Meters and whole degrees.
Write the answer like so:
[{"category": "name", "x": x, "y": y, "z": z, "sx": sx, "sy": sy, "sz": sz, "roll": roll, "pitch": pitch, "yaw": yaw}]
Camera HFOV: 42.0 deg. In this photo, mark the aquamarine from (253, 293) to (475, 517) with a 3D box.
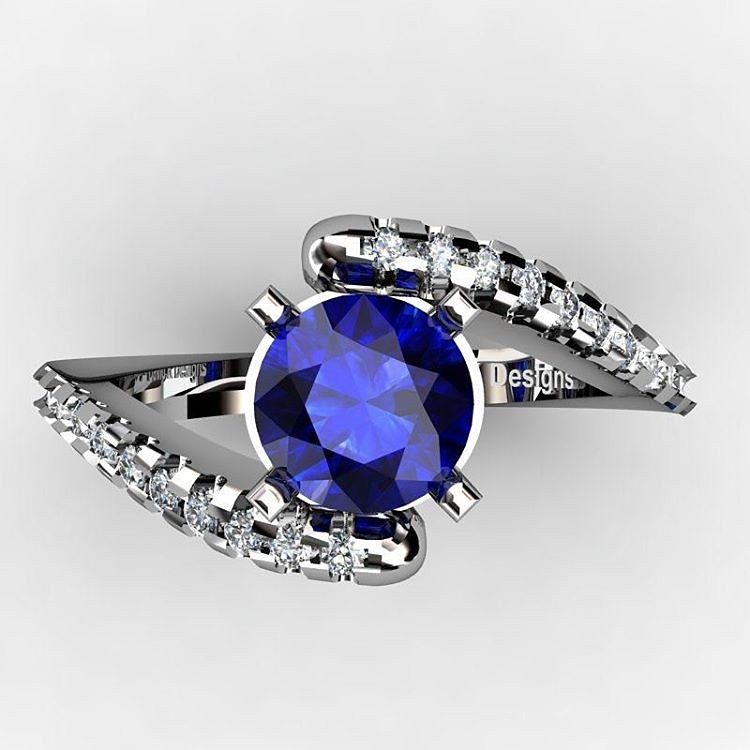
[{"category": "aquamarine", "x": -0.023, "y": 0.047, "z": 1.609, "sx": 0.435, "sy": 0.131, "sz": 0.338, "roll": -3, "pitch": -80, "yaw": -1}]
